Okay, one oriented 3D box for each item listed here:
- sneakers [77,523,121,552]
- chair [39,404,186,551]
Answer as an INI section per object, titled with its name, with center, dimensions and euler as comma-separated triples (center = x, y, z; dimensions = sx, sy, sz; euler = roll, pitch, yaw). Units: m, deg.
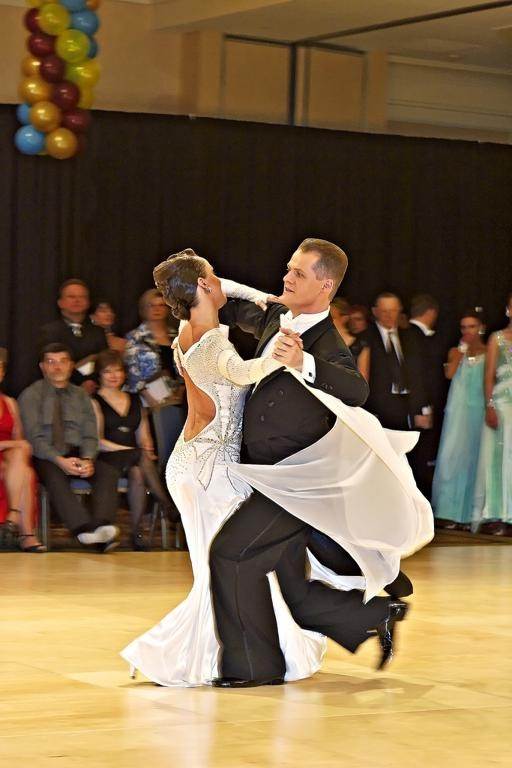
[sneakers]
center = -1.071, 1.077, 4.924
dimensions = 0.354, 0.176, 0.130
euler = 0, 10, -21
[chair]
center = -0.991, 0.723, 5.437
dimensions = 1.234, 0.994, 0.864
euler = 0, -27, -6
